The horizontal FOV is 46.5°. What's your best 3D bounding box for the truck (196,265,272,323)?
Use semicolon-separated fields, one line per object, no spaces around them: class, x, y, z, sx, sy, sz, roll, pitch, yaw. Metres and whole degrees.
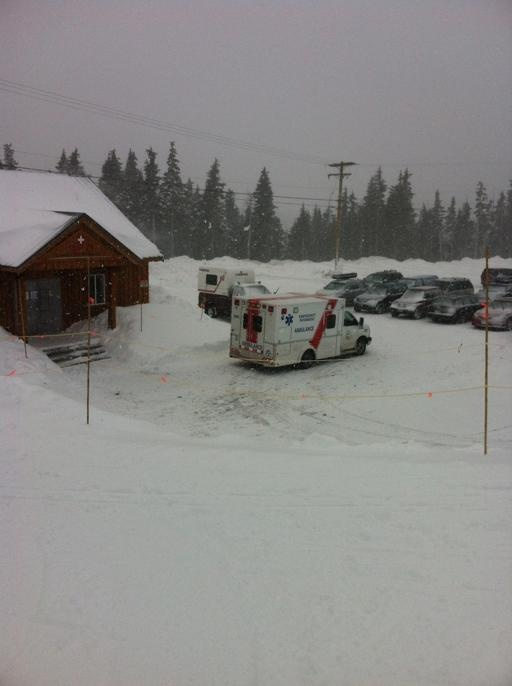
truck;-0.962;-2.438;28.595;2.087;2.290;4.183;-9;19;-39

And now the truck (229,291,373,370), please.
truck;1.471;-0.405;18.489;4.169;1.889;2.137;-11;16;-39
